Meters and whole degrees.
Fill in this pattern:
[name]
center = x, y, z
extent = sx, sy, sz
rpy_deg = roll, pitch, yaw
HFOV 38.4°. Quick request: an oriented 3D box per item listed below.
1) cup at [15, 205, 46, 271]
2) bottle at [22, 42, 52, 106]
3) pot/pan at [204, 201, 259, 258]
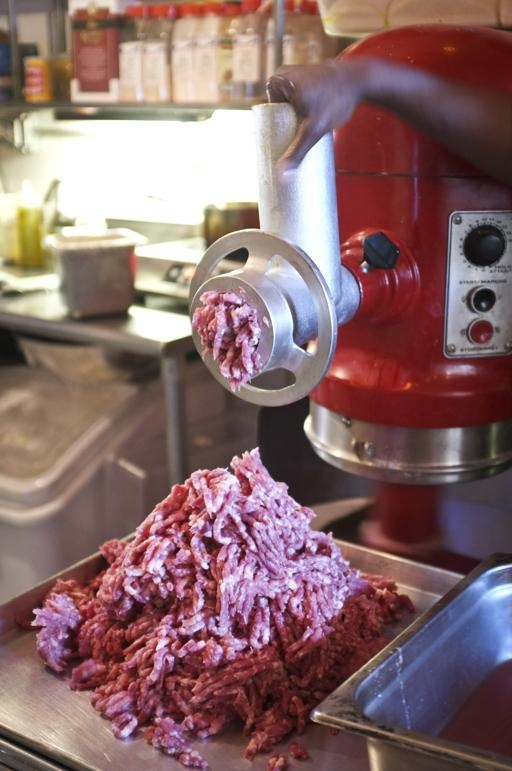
[cup]
center = -0.560, -0.362, 1.812
extent = 0.073, 0.151, 0.049
rpy_deg = -7, 21, -14
[bottle]
center = -0.513, -0.707, 1.702
extent = 0.079, 0.106, 0.070
rpy_deg = -27, 50, -36
[pot/pan]
center = -0.060, -0.374, 1.717
extent = 0.119, 0.090, 0.160
rpy_deg = -3, 19, -6
